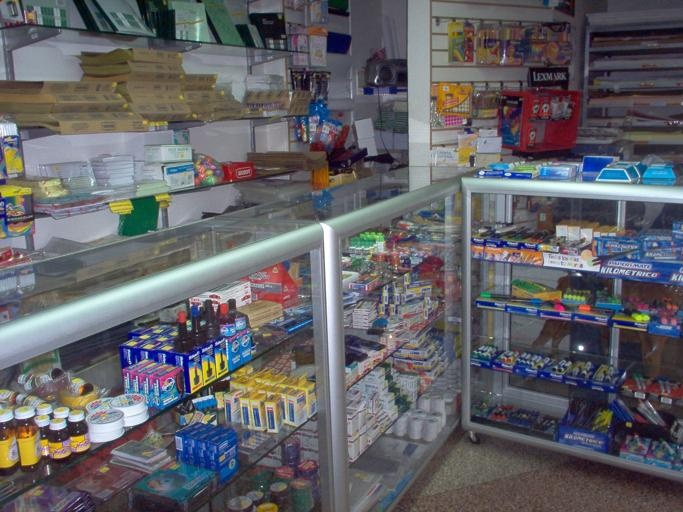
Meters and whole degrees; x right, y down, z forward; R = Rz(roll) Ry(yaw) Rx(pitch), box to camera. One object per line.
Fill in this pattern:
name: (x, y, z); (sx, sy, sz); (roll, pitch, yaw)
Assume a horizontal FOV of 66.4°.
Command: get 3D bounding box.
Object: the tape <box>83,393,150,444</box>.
tape: (-0.648, 0.465, 1.497); (0.169, 0.101, 0.132); (8, 15, 21)
